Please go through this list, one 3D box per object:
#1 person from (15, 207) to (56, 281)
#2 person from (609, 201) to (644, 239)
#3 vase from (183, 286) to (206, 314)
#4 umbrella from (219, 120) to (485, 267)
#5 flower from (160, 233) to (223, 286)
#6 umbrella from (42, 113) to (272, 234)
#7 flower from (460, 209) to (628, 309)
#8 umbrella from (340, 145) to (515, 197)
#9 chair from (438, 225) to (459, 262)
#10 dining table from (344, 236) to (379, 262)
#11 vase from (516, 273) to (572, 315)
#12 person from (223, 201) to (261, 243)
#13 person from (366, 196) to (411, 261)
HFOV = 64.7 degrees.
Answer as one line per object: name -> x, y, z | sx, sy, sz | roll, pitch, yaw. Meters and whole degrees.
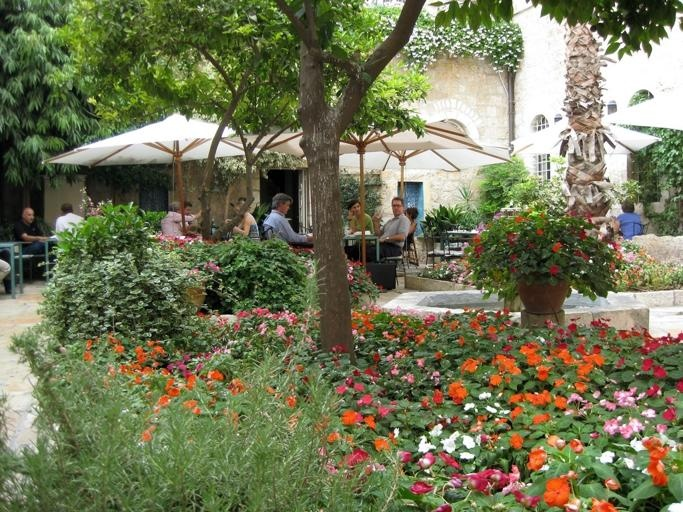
person -> -5.993, -0.215, 10.501 | 0.782, 1.409, 0.618 | 3, 2, 12
person -> 5.324, -0.696, 10.086 | 0.606, 0.776, 0.612 | -4, 26, 28
vase -> -1.220, 0.362, 4.530 | 0.199, 0.252, 0.249 | -1, -2, -45
umbrella -> 1.309, -1.534, 10.863 | 2.626, 1.603, 2.662 | -12, 31, 6
flower -> -1.424, 0.024, 5.342 | 0.630, 0.343, 0.621 | 2, 17, -32
umbrella -> -3.294, -1.531, 8.830 | 2.505, 1.470, 3.638 | 0, -1, -30
flower -> 1.621, -0.020, 4.345 | 0.933, 0.660, 0.929 | 0, 4, -7
umbrella -> 2.026, -2.051, 13.252 | 2.707, 0.929, 2.588 | -1, -6, 2
chair -> 2.131, -0.200, 10.982 | 0.447, 0.765, 0.572 | 0, -2, -4
dining table -> 0.342, -0.087, 9.127 | 0.651, 0.336, 0.369 | 1, 1, 4
vase -> 1.662, 0.321, 4.416 | 0.335, 0.233, 0.341 | 0, -3, -7
person -> -1.913, -0.589, 10.233 | 0.658, 0.984, 0.509 | -11, 21, -37
person -> 0.791, -0.410, 9.654 | 0.793, 1.374, 0.700 | 10, -4, -16
